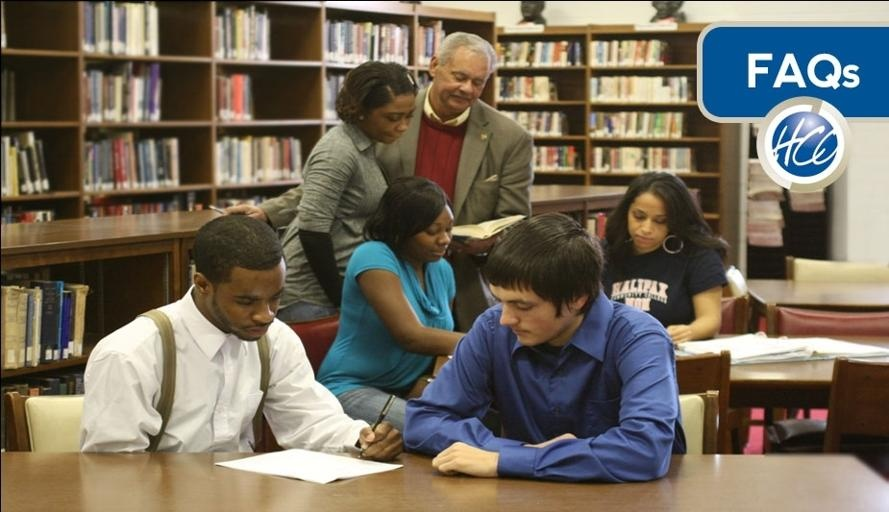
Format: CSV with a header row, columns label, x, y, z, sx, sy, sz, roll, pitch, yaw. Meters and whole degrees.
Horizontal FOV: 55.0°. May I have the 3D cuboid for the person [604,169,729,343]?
label,x,y,z,sx,sy,sz,roll,pitch,yaw
person,1.115,-0.049,4.412,0.807,1.030,0.776,1,8,16

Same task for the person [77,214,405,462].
label,x,y,z,sx,sy,sz,roll,pitch,yaw
person,-0.842,0.283,3.221,1.004,0.837,0.960,3,3,40

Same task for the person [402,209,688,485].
label,x,y,z,sx,sy,sz,roll,pitch,yaw
person,0.313,0.294,2.936,0.919,0.876,0.361,-1,2,7
